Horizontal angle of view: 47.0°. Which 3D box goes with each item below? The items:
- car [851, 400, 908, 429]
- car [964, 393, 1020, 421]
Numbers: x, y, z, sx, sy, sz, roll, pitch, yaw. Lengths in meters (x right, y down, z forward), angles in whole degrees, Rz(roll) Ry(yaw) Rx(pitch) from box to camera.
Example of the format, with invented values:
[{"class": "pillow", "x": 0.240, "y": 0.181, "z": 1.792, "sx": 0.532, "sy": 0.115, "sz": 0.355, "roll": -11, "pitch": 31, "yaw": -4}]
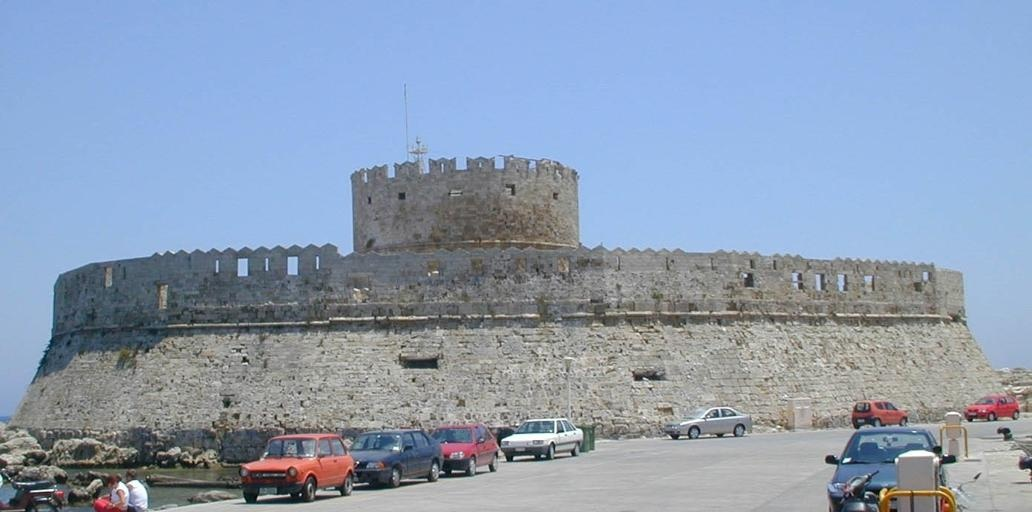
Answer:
[{"class": "car", "x": 20.310, "y": 8.743, "z": 65.857, "sx": 2.913, "sy": 1.119, "sz": 1.575, "roll": -2, "pitch": -1, "yaw": -21}, {"class": "car", "x": 27.936, "y": 8.915, "z": 69.624, "sx": 2.931, "sy": 1.066, "sz": 1.538, "roll": 8, "pitch": -12, "yaw": -38}]
